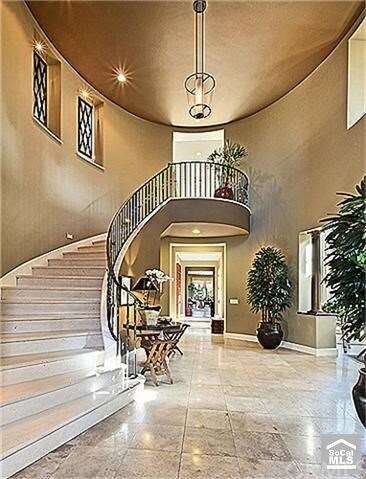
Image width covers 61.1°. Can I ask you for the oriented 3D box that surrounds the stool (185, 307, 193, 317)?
[{"bbox_3d":[0.319,3.920,16.387,0.340,0.767,0.387,1,7,7],"label":"stool"}]

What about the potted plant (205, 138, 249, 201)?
[{"bbox_3d":[1.264,-1.846,8.553,0.941,2.017,2.003,-1,-7,10],"label":"potted plant"}]

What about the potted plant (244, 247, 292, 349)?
[{"bbox_3d":[1.962,1.318,6.953,0.966,2.219,0.839,-3,-7,21],"label":"potted plant"}]

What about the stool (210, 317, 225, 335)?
[{"bbox_3d":[1.060,2.640,9.279,0.377,0.390,0.394,-1,-7,4],"label":"stool"}]

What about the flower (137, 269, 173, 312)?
[{"bbox_3d":[-0.437,0.930,5.604,0.584,0.925,0.690,6,-10,-43],"label":"flower"}]

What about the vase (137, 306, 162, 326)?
[{"bbox_3d":[-0.533,1.203,4.950,0.280,0.281,0.289,2,-9,-8],"label":"vase"}]
